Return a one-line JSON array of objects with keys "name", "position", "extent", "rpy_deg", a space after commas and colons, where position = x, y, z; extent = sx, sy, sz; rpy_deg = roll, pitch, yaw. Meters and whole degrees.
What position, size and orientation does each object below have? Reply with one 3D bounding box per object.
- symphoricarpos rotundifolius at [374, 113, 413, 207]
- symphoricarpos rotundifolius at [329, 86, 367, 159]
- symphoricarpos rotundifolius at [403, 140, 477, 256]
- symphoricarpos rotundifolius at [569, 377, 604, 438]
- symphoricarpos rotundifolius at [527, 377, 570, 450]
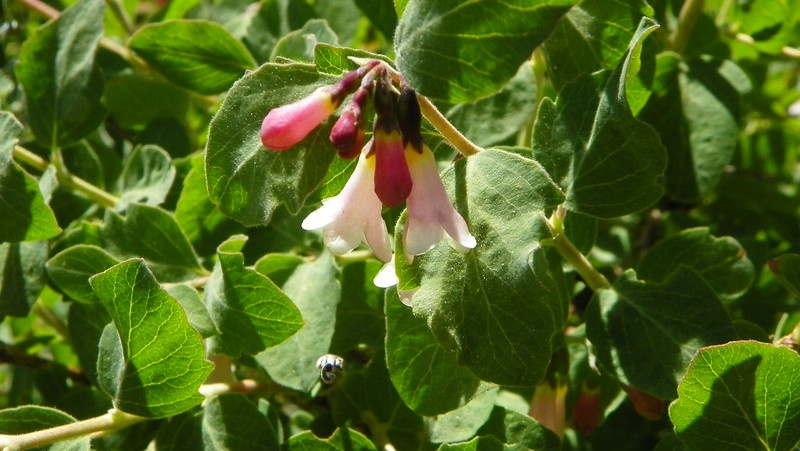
[{"name": "symphoricarpos rotundifolius", "position": [-0.033, -0.164, 2.173], "extent": [0.096, 0.219, 0.109], "rpy_deg": [-12, 12, 5]}, {"name": "symphoricarpos rotundifolius", "position": [-0.123, -0.250, 2.159], "extent": [0.122, 0.161, 0.062], "rpy_deg": [-15, 12, -8]}, {"name": "symphoricarpos rotundifolius", "position": [0.069, -0.080, 2.225], "extent": [0.217, 0.298, 0.179], "rpy_deg": [-7, 8, 22]}, {"name": "symphoricarpos rotundifolius", "position": [0.561, 0.546, 2.573], "extent": [0.082, 0.165, 0.071], "rpy_deg": [15, 0, 12]}, {"name": "symphoricarpos rotundifolius", "position": [0.432, 0.529, 2.478], "extent": [0.121, 0.165, 0.083], "rpy_deg": [-13, 12, 0]}]
